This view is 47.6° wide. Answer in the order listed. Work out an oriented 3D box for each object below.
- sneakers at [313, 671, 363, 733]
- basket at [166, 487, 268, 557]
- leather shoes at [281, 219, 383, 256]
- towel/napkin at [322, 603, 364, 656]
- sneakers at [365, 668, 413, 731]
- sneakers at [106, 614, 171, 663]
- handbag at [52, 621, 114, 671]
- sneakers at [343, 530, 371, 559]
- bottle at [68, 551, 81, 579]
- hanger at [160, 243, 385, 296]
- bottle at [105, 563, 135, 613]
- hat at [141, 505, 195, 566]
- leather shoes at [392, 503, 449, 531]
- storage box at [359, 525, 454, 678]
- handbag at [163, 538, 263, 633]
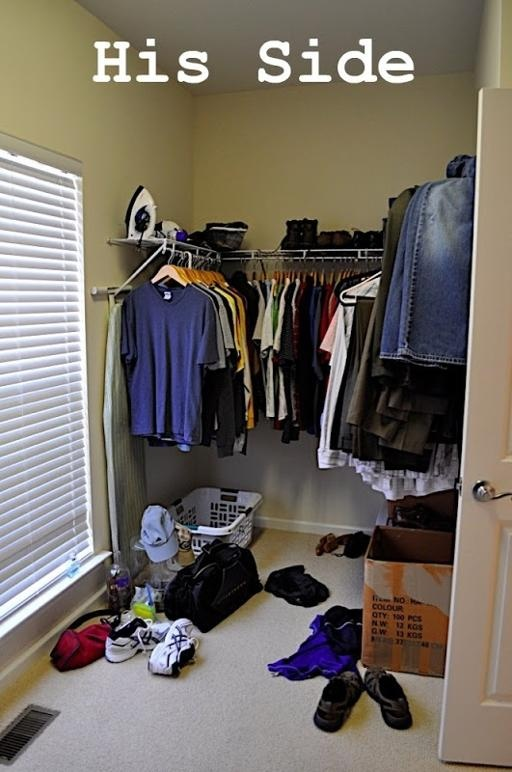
[{"bbox_3d":[0.280,1.043,1.950,0.077,0.091,0.203,-1,7,15],"label":"sneakers"},{"bbox_3d":[-0.246,0.802,3.268,0.464,0.302,0.653,2,8,10],"label":"basket"},{"bbox_3d":[0.392,-0.790,3.044,0.534,0.181,0.184,2,8,16],"label":"leather shoes"},{"bbox_3d":[0.352,1.008,2.406,0.050,0.249,0.150,-14,34,-25],"label":"towel/napkin"},{"bbox_3d":[0.457,1.055,1.987,0.144,0.068,0.258,-1,8,-5],"label":"sneakers"},{"bbox_3d":[-0.475,0.985,2.301,0.104,0.107,0.235,4,6,31],"label":"sneakers"},{"bbox_3d":[-0.666,1.000,2.259,0.128,0.101,0.261,6,11,42],"label":"handbag"},{"bbox_3d":[0.558,0.870,3.249,0.135,0.067,0.195,-7,22,18],"label":"sneakers"},{"bbox_3d":[-0.774,0.759,2.464,0.059,0.102,0.023,0,-15,-6],"label":"bottle"},{"bbox_3d":[0.047,-0.640,3.168,1.214,0.209,0.818,-3,9,-19],"label":"hanger"},{"bbox_3d":[-0.600,0.878,2.617,0.084,0.198,0.260,0,8,8],"label":"bottle"},{"bbox_3d":[-0.427,0.695,2.738,0.185,0.320,0.098,-10,2,-3],"label":"hat"},{"bbox_3d":[0.764,0.605,2.657,0.191,0.092,0.128,7,-6,-8],"label":"leather shoes"},{"bbox_3d":[0.594,0.833,2.273,0.319,0.439,0.435,2,8,20],"label":"storage box"},{"bbox_3d":[-0.184,0.865,2.662,0.218,0.311,0.431,7,18,39],"label":"handbag"}]
